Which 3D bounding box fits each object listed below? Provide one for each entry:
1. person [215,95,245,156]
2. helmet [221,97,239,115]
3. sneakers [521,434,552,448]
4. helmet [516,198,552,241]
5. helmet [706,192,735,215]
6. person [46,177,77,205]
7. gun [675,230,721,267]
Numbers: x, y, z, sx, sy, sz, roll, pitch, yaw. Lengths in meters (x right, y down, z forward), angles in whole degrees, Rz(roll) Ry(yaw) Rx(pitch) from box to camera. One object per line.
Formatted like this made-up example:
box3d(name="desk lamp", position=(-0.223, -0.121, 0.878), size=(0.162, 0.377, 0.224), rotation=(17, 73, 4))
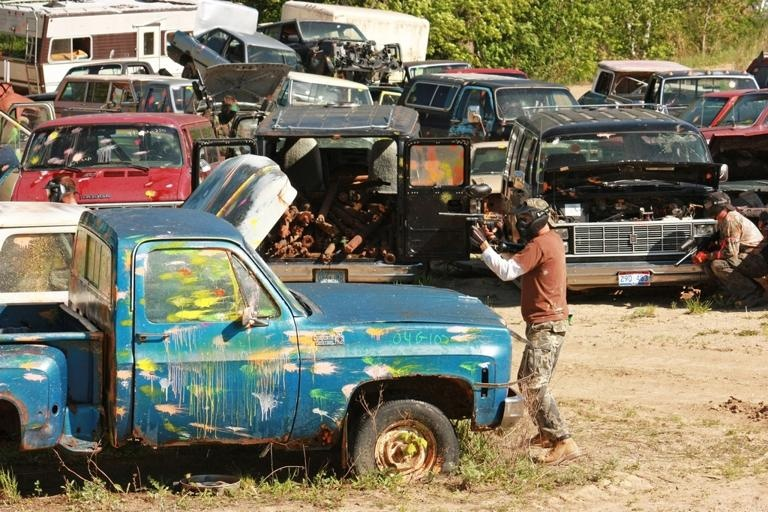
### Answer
box3d(name="person", position=(-3.062, -2.748, 18.211), size=(0.407, 0.777, 1.022), rotation=(2, 9, -10))
box3d(name="helmet", position=(-3.034, -2.992, 18.332), size=(0.435, 0.390, 0.329), rotation=(-3, 21, -4))
box3d(name="sneakers", position=(1.556, 1.905, 9.484), size=(0.292, 0.116, 0.169), rotation=(2, 5, -4))
box3d(name="helmet", position=(1.465, -0.360, 9.290), size=(0.418, 0.441, 0.407), rotation=(0, 2, -2))
box3d(name="helmet", position=(4.817, -0.771, 13.442), size=(0.285, 0.202, 0.403), rotation=(-16, 7, -27))
box3d(name="person", position=(-4.187, -0.855, 12.008), size=(0.285, 0.335, 1.894), rotation=(0, 9, -21))
box3d(name="gun", position=(4.472, -0.098, 13.297), size=(0.729, 0.282, 0.161), rotation=(-30, 28, -21))
